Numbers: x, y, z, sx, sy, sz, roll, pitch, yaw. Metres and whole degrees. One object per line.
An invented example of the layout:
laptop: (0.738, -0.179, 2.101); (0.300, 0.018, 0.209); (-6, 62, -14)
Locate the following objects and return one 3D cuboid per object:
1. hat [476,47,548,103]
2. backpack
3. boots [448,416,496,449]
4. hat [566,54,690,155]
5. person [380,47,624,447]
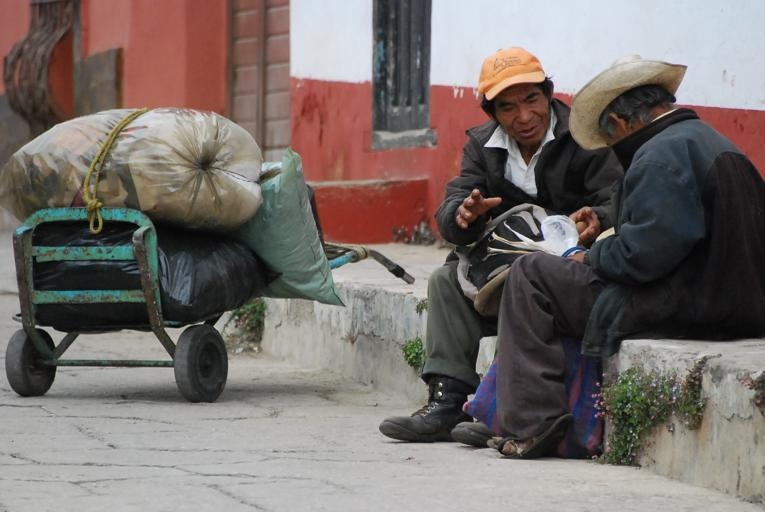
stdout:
hat: (0.651, -0.946, 6.267); (0.368, 0.257, 0.490); (-18, 15, 10)
backpack: (0.580, -0.007, 6.124); (0.535, 0.626, 0.338); (-2, 0, 6)
boots: (0.413, 0.831, 5.839); (0.240, 0.111, 0.095); (14, -22, 8)
hat: (1.152, -0.706, 5.745); (0.635, 0.191, 0.622); (-17, -42, 13)
person: (0.595, -0.053, 6.402); (1.086, 2.030, 1.085); (1, 1, 3)
